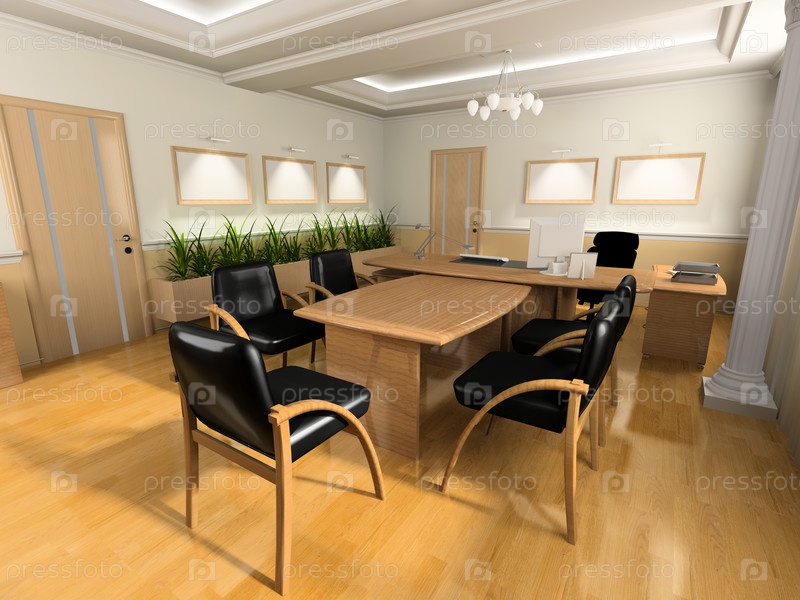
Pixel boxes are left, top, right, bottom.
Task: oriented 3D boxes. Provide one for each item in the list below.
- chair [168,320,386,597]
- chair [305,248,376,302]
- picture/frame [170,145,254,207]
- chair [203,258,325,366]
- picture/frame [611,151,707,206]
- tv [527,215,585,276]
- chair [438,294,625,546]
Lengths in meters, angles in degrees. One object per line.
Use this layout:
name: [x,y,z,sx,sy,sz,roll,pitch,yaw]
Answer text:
chair: [-0.580,0.626,2.378,0.671,1.151,0.737,10,19,38]
chair: [-0.510,-0.225,3.843,0.448,0.551,0.464,10,17,38]
picture/frame: [-1.790,-1.178,4.804,0.097,0.515,0.811,8,16,32]
chair: [-0.818,-0.009,3.541,0.746,0.872,0.688,11,17,35]
picture/frame: [2.653,-1.235,5.146,0.802,0.504,0.126,8,18,34]
tv: [1.090,-0.367,3.480,0.524,0.462,0.167,5,21,19]
chair: [0.802,0.442,2.933,1.168,1.334,1.030,10,17,28]
